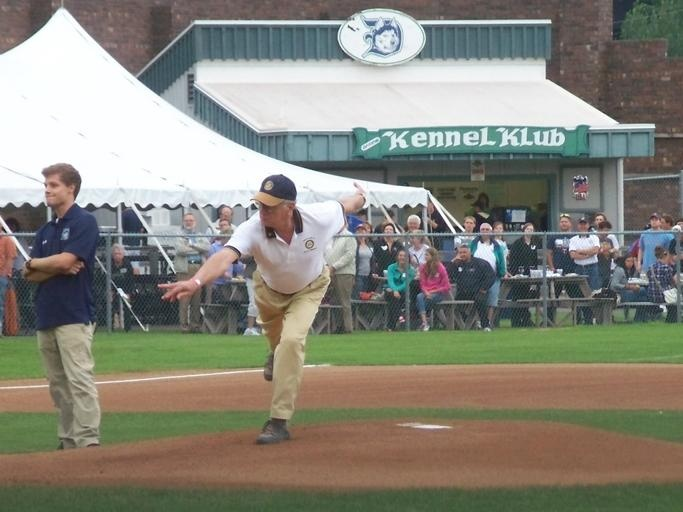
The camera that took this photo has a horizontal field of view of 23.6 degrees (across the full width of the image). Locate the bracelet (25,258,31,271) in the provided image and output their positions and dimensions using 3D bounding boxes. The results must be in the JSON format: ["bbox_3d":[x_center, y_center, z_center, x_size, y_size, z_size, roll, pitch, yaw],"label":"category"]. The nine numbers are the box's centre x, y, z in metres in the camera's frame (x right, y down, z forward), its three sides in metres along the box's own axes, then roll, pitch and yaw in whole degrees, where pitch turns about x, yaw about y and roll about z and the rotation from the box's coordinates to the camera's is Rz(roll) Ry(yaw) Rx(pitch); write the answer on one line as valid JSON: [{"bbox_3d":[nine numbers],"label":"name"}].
[{"bbox_3d":[-4.956,0.125,25.781,0.055,0.156,0.135,-2,9,-8],"label":"bracelet"}]

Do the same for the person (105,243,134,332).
[{"bbox_3d":[-4.538,0.630,33.831,0.459,1.681,0.793,-3,12,-7],"label":"person"}]

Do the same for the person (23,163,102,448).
[{"bbox_3d":[-4.565,0.753,26.107,1.164,4.438,1.213,0,1,-40],"label":"person"}]

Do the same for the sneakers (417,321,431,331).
[{"bbox_3d":[1.707,1.425,33.901,0.197,0.194,0.441,-1,0,10],"label":"sneakers"}]

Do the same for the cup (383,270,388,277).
[{"bbox_3d":[0.926,0.330,33.903,0.103,0.112,0.106,2,4,0],"label":"cup"}]

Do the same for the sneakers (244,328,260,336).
[{"bbox_3d":[-1.831,1.544,33.669,0.356,0.161,0.146,1,2,-3],"label":"sneakers"}]

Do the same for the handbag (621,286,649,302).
[{"bbox_3d":[6.272,0.807,34.708,0.376,0.175,0.370,-1,-16,1],"label":"handbag"}]

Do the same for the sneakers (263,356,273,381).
[{"bbox_3d":[-1.178,1.841,26.745,0.138,0.442,0.185,4,-14,1],"label":"sneakers"}]
